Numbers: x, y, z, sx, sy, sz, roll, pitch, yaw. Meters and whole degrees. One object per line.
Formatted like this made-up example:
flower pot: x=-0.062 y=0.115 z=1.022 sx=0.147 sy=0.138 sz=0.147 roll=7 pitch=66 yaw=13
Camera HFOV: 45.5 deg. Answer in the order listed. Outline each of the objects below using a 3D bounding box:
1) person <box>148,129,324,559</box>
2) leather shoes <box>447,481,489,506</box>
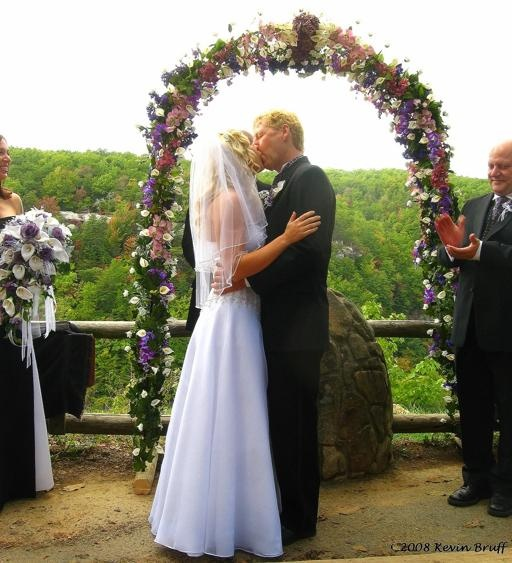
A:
person: x=-0.185 y=0.292 z=3.088 sx=0.619 sy=2.161 sz=0.615 roll=-1 pitch=2 yaw=-29
leather shoes: x=1.260 y=1.278 z=3.637 sx=0.303 sy=0.095 sz=0.103 roll=7 pitch=-17 yaw=-29
